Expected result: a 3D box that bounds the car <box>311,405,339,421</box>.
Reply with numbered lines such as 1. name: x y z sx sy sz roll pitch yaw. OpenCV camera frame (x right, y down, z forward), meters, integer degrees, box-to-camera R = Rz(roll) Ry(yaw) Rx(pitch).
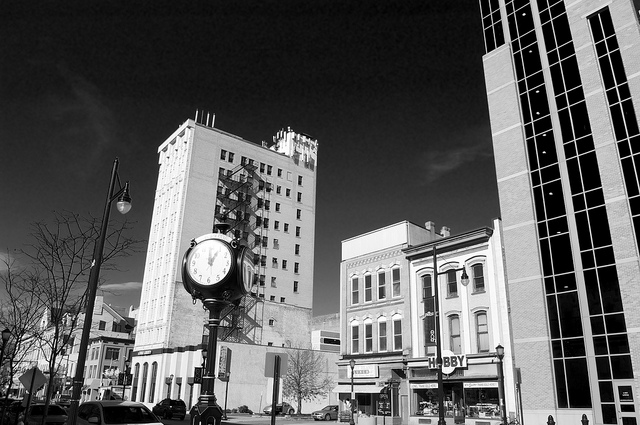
1. car: 0.745 22.711 60.455 3.831 1.217 1.695 22 -35 -35
